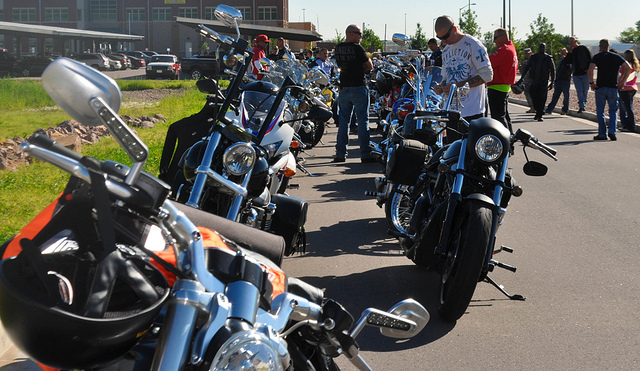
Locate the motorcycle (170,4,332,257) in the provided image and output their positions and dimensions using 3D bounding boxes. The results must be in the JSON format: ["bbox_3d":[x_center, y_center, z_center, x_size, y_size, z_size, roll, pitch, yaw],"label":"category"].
[{"bbox_3d":[-0.667,-0.475,5.056,1.332,1.814,2.581,30,7,3],"label":"motorcycle"}]

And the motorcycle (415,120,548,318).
[{"bbox_3d":[1.391,0.270,4.623,0.908,1.840,1.296,6,15,22],"label":"motorcycle"}]

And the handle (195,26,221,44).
[{"bbox_3d":[-1.037,-1.442,4.391,0.208,0.150,0.384,-10,17,-38],"label":"handle"}]

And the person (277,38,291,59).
[{"bbox_3d":[-1.463,-5.681,19.104,0.735,0.766,1.238,-2,13,4],"label":"person"}]

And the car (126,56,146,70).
[{"bbox_3d":[-21.165,-14.519,54.360,2.675,0.932,1.299,5,10,-1],"label":"car"}]

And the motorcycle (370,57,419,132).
[{"bbox_3d":[2.211,-2.166,11.480,1.494,1.504,2.255,0,12,-4],"label":"motorcycle"}]
